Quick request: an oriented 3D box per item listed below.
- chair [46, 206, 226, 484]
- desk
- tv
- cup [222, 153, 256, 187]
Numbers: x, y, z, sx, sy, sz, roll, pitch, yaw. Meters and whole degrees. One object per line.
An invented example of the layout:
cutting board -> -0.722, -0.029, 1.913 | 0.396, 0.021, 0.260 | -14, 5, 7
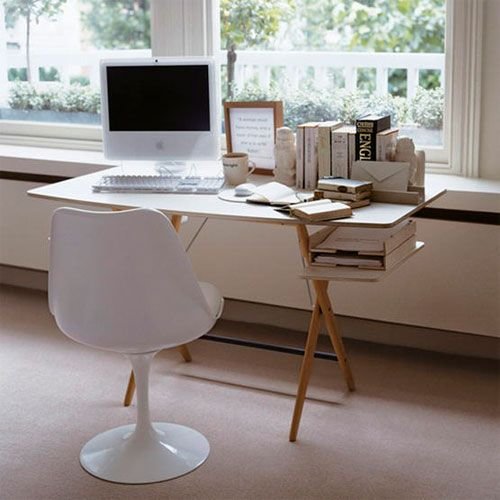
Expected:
chair -> -0.291, 0.260, 1.261 | 0.443, 0.782, 0.496 | -1, 11, -4
desk -> 0.066, 0.227, 1.739 | 1.012, 0.670, 0.557 | 3, 7, 44
tv -> -0.346, -0.536, 1.864 | 0.447, 0.395, 0.161 | 1, 13, 7
cup -> -0.033, -0.292, 1.769 | 0.146, 0.110, 0.098 | -4, 12, 4
